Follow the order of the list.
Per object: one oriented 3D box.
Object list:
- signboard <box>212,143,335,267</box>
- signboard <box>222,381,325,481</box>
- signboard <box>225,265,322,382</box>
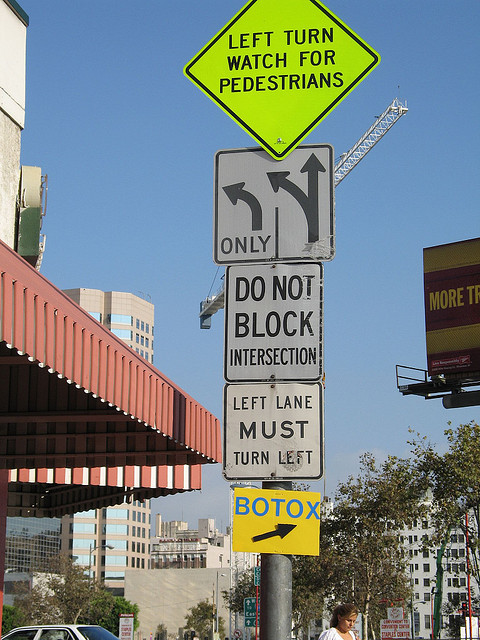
[{"bbox_3d":[0.226,-0.633,7.114,0.713,1.087,0.035,0,-10,1],"label":"signboard"},{"bbox_3d":[0.209,0.641,6.855,0.560,0.843,0.062,-2,-15,11],"label":"signboard"},{"bbox_3d":[0.198,0.004,7.091,0.551,0.981,0.031,-1,-43,3],"label":"signboard"}]
